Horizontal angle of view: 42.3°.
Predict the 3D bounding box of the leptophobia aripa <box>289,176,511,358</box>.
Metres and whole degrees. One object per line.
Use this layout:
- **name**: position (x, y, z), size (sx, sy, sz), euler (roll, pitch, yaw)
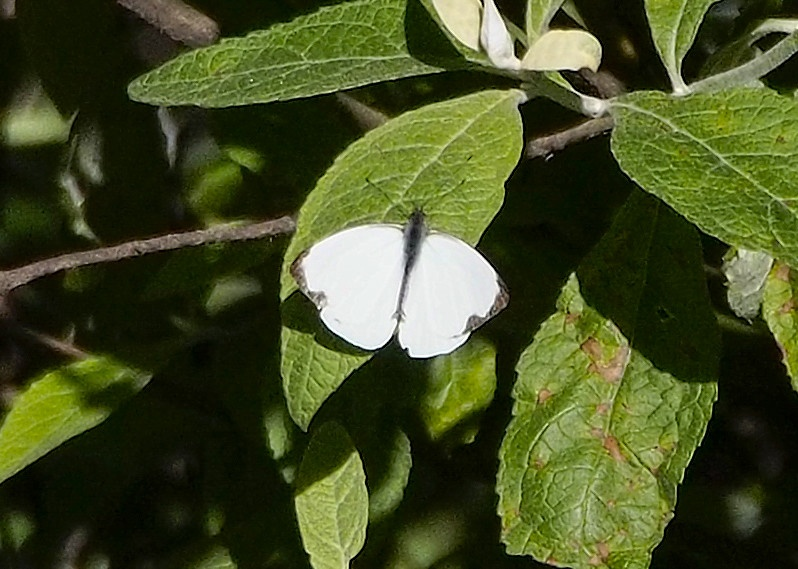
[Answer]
- **leptophobia aripa**: position (0.019, -0.050, 1.733), size (0.342, 0.241, 0.041), euler (7, 15, -1)
